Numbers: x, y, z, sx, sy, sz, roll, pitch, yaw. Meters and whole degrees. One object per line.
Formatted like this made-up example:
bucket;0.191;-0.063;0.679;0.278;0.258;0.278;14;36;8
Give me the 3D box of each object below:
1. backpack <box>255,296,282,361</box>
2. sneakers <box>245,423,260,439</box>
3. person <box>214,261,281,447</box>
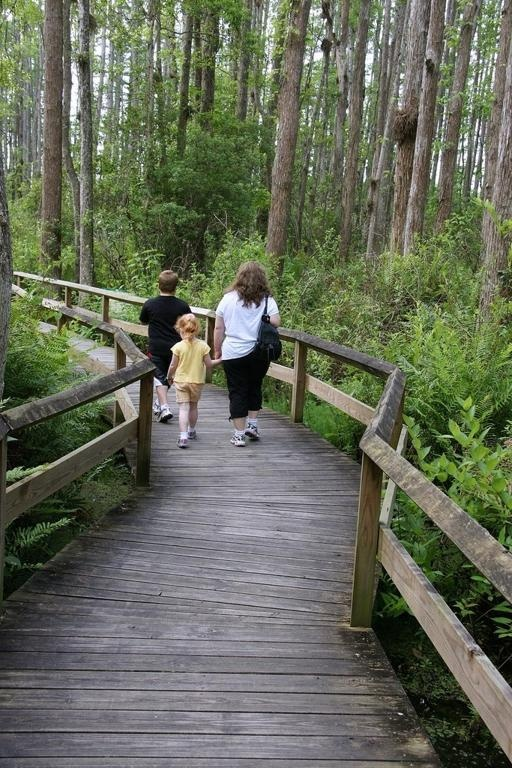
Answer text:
backpack;0.107;-0.498;5.383;0.222;0.601;0.299;2;6;0
sneakers;-0.040;0.512;6.133;0.075;0.230;0.114;-3;47;24
person;-0.088;-0.381;5.539;0.668;1.488;0.482;4;6;10
